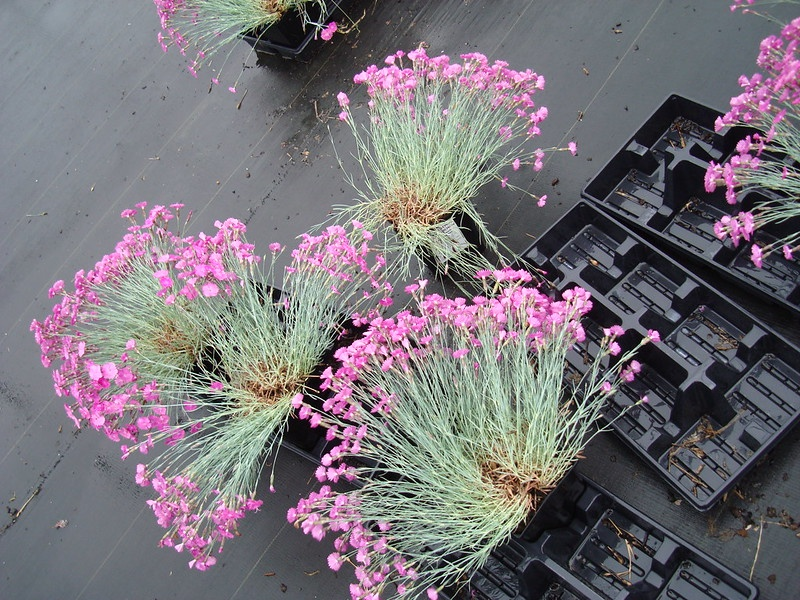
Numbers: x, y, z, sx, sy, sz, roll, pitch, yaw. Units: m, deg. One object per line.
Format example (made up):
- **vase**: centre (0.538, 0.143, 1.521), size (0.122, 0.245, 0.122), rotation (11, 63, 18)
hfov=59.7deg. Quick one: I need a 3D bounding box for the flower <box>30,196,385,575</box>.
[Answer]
- **flower**: centre (-0.594, 0.277, 3.196), size (1.529, 1.471, 0.690), rotation (-48, -20, 2)
